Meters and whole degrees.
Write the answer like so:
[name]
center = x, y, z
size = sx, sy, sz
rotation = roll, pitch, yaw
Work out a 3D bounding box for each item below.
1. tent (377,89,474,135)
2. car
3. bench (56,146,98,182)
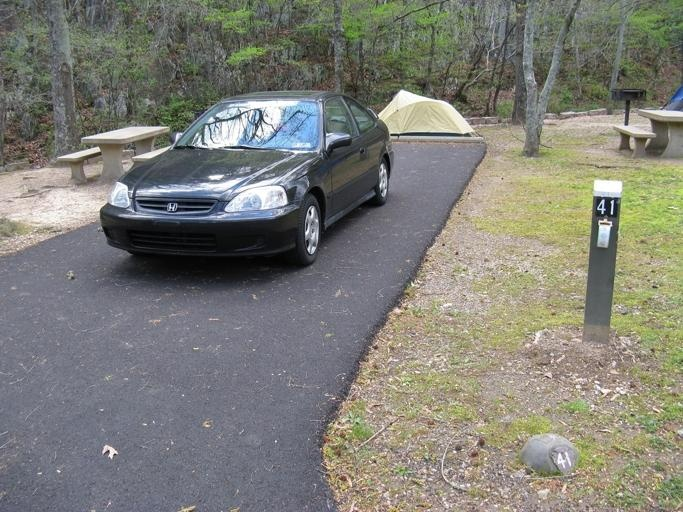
[tent]
center = 2.833, -4.909, 16.734
size = 2.981, 1.159, 2.271
rotation = -2, 25, -11
[car]
center = -1.048, -1.194, 6.511
size = 2.202, 2.031, 3.743
rotation = 10, 20, 29
[bench]
center = -5.915, -2.085, 10.900
size = 0.644, 0.702, 1.071
rotation = -1, 18, -2
